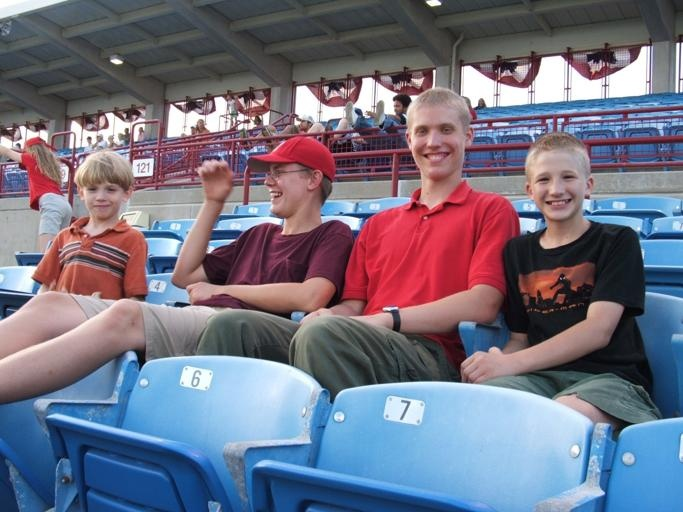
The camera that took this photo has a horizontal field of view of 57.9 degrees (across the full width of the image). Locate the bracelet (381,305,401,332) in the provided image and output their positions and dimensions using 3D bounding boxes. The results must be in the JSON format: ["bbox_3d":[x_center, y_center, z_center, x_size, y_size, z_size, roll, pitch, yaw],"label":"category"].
[{"bbox_3d":[0.187,0.215,2.180,0.060,0.084,0.091,-3,12,-29],"label":"bracelet"}]

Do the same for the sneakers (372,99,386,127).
[{"bbox_3d":[0.627,-2.363,10.200,0.213,0.648,0.259,5,-21,5],"label":"sneakers"}]

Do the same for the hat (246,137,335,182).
[{"bbox_3d":[-0.230,-0.459,2.900,0.338,0.191,0.209,6,-4,-12],"label":"hat"}]
